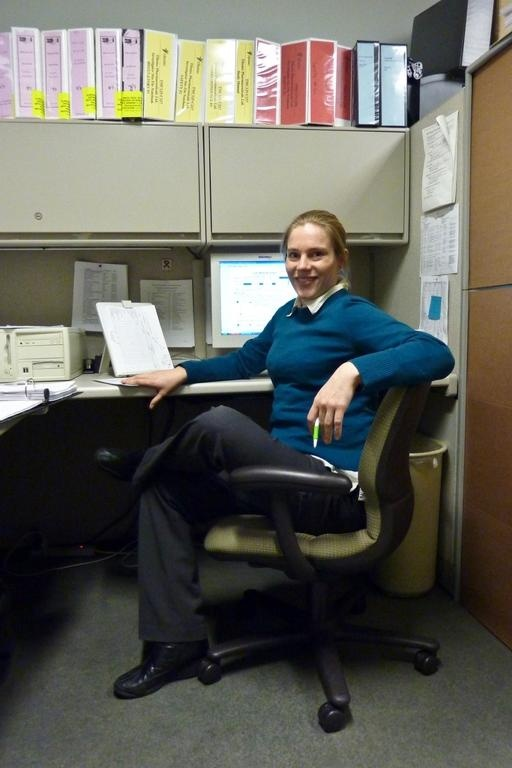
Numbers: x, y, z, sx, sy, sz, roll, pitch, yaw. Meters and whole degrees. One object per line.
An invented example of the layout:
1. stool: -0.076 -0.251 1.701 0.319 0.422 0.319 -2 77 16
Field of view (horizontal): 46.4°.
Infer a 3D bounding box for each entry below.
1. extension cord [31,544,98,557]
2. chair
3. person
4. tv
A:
1. extension cord: -0.633 0.572 2.041 0.167 0.031 0.061 -1 10 -2
2. chair: 0.113 0.297 1.517 0.617 0.851 0.687 2 -2 6
3. person: 0.179 0.250 1.938 1.032 1.689 0.911 5 -8 -6
4. tv: -0.016 -0.263 1.853 0.315 0.321 0.108 -2 5 -6
